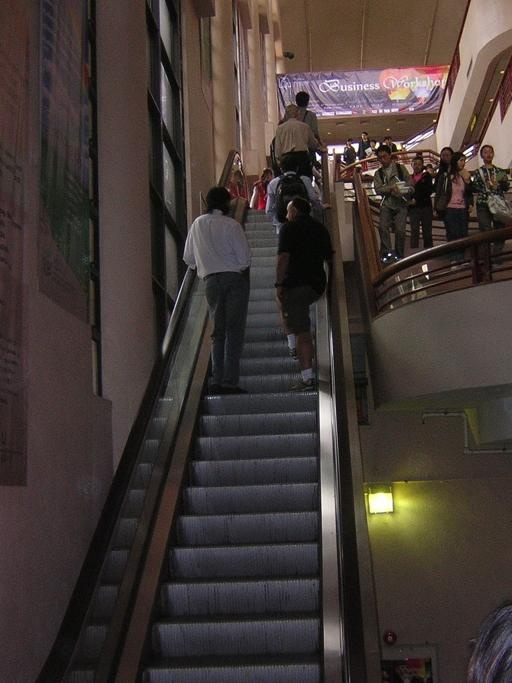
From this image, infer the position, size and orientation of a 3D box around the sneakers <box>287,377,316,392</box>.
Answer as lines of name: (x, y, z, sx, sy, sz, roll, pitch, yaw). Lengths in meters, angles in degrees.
sneakers: (0.352, 0.320, 3.865, 0.195, 0.137, 0.100, 2, -2, 10)

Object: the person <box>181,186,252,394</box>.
person: (-0.279, -0.434, 3.989, 0.475, 1.489, 0.766, -5, 15, -13)

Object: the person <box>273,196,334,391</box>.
person: (0.393, -0.455, 4.108, 0.432, 1.321, 0.992, 1, 16, 10)

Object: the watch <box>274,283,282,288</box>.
watch: (0.187, -0.461, 4.071, 0.038, 0.042, 0.052, 6, 2, 0)

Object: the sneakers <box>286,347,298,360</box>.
sneakers: (0.327, 0.105, 4.409, 0.077, 0.164, 0.300, 1, 0, 4)
